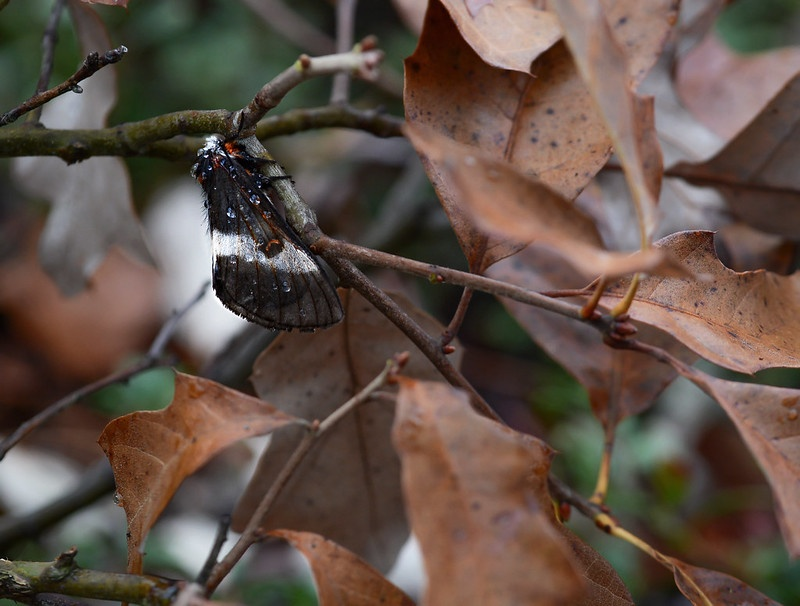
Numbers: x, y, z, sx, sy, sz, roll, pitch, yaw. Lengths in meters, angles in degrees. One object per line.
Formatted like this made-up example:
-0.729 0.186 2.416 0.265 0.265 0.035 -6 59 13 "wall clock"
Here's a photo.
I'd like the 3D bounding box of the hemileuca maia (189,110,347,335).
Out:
-0.208 -0.082 1.164 0.132 0.306 0.077 -22 -22 -24 "hemileuca maia"
